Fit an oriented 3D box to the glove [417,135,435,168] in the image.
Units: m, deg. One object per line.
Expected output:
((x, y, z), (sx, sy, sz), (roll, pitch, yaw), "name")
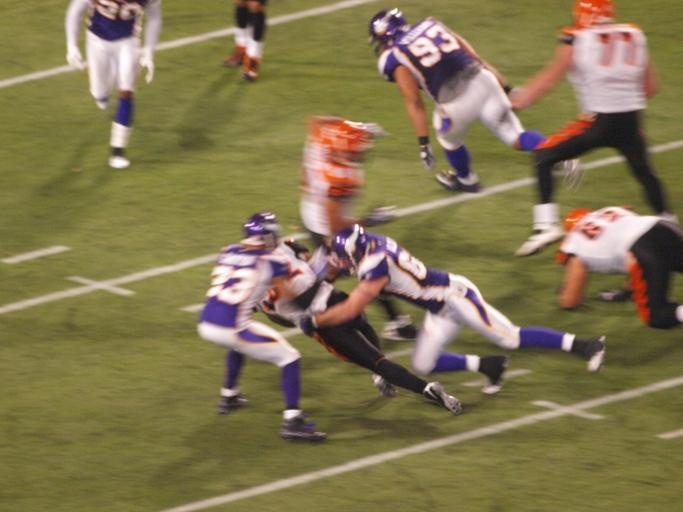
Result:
((0.735, -0.872, 8.412), (0.130, 0.269, 0.140), (-7, 21, 24), "glove")

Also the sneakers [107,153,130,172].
((-2.009, -0.827, 8.977), (0.251, 0.096, 0.302), (0, -3, -16), "sneakers")

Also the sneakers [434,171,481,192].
((0.965, -0.644, 8.585), (0.462, 0.144, 0.144), (11, 19, 13), "sneakers")

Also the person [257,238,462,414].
((0.234, 0.368, 6.139), (1.559, 0.394, 0.848), (27, -21, -10), "person")
